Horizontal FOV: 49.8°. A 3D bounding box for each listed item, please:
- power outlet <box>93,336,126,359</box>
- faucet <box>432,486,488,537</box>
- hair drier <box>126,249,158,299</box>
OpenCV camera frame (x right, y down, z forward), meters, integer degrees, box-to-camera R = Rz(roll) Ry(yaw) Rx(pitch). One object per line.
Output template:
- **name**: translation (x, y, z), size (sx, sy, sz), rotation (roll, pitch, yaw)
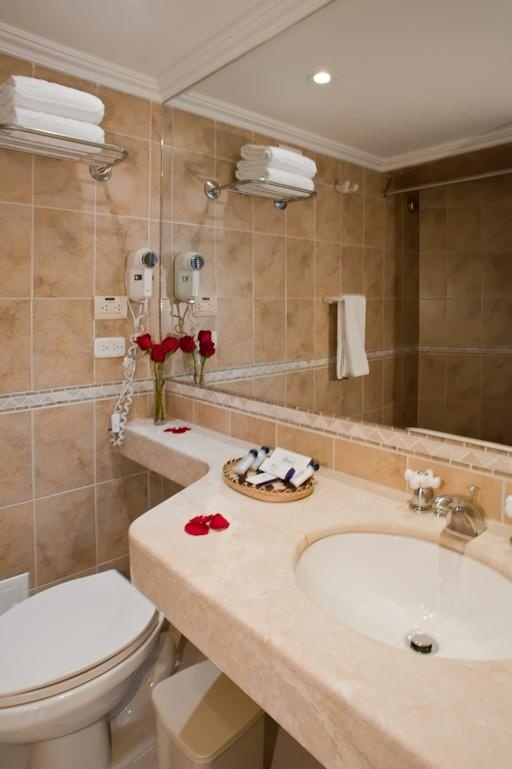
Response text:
- **power outlet**: translation (-0.493, -0.125, 1.871), size (0.031, 0.081, 0.127), rotation (4, 12, 34)
- **faucet**: translation (0.365, 0.227, 1.024), size (0.095, 0.100, 0.064), rotation (8, 5, 11)
- **hair drier**: translation (-0.383, -0.368, 1.872), size (0.088, 0.172, 0.094), rotation (-10, 12, -39)
